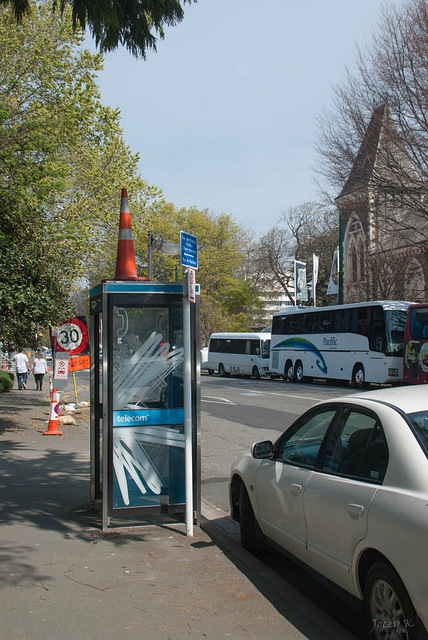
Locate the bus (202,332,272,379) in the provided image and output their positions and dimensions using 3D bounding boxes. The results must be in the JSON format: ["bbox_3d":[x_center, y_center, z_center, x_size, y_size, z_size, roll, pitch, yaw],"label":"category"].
[{"bbox_3d":[1.941,2.415,39.796,2.207,2.837,6.889,3,-3,-31],"label":"bus"}]

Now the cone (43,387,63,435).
[{"bbox_3d":[-3.229,1.827,11.877,0.475,0.935,0.497,-1,-5,43],"label":"cone"}]

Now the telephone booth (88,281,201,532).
[{"bbox_3d":[-0.715,0.778,5.572,1.249,2.259,0.974,1,-3,10],"label":"telephone booth"}]

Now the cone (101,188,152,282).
[{"bbox_3d":[-0.833,-0.693,5.697,0.345,1.150,0.354,1,-1,-31],"label":"cone"}]

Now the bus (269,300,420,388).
[{"bbox_3d":[5.979,1.116,28.243,2.607,3.721,10.195,5,-4,-24],"label":"bus"}]

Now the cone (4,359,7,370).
[{"bbox_3d":[-16.460,3.503,46.260,0.200,1.019,0.280,2,0,16],"label":"cone"}]
